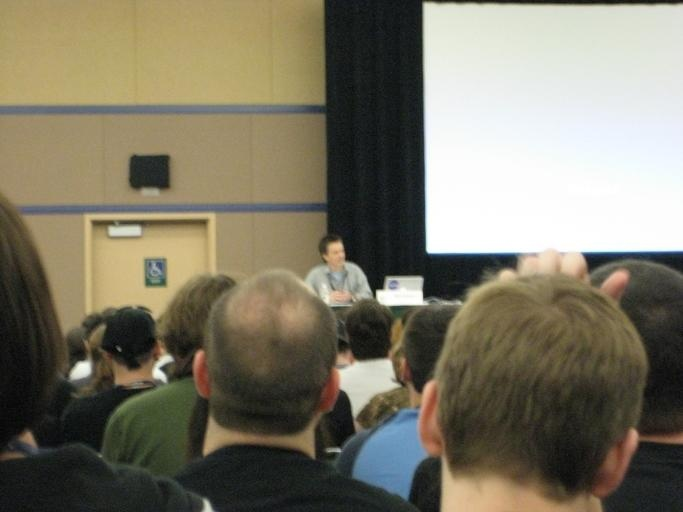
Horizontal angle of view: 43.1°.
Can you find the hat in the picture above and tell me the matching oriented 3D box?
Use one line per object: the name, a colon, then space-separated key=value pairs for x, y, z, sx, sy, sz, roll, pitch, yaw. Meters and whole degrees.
hat: x=-1.241 y=0.456 z=5.132 sx=0.263 sy=0.355 sz=0.365 roll=3 pitch=11 yaw=-7
